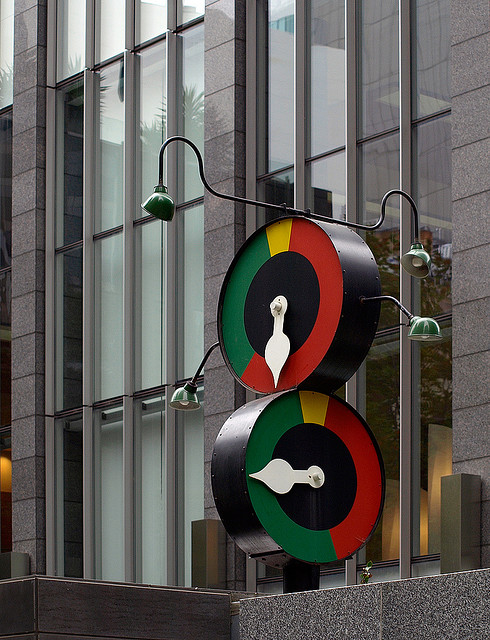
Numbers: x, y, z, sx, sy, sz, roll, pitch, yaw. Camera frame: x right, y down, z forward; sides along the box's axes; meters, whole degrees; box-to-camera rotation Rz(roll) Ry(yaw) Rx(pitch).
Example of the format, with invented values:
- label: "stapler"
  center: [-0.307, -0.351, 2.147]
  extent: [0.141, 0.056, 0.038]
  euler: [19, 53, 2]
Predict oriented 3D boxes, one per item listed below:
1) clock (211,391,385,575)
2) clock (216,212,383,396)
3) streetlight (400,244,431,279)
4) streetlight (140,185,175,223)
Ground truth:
- label: "clock"
  center: [0.605, 1.144, 16.311]
  extent: [1.130, 1.617, 0.572]
  euler: [2, 26, 7]
- label: "clock"
  center: [0.549, -0.110, 17.100]
  extent: [0.454, 1.448, 1.382]
  euler: [9, 15, -29]
- label: "streetlight"
  center: [1.530, -0.534, 17.822]
  extent: [0.265, 0.320, 0.319]
  euler: [5, -12, -35]
- label: "streetlight"
  center: [-0.728, -1.060, 17.967]
  extent: [0.258, 0.339, 0.287]
  euler: [14, -18, -5]
